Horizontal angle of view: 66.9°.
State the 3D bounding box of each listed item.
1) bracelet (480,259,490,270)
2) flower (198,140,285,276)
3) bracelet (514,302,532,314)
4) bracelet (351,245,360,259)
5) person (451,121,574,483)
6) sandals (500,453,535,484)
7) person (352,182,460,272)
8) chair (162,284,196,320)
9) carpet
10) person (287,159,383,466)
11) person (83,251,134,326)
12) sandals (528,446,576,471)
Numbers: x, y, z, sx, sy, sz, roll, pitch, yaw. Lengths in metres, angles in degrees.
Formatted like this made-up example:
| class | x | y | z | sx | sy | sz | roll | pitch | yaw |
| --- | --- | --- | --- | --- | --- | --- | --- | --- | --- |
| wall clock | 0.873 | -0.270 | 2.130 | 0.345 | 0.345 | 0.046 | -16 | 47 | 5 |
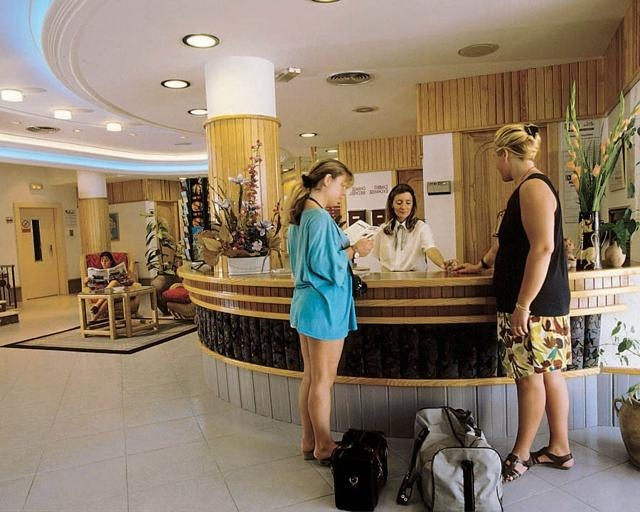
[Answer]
| class | x | y | z | sx | sy | sz | roll | pitch | yaw |
| --- | --- | --- | --- | --- | --- | --- | --- | --- | --- |
| bracelet | 1.191 | 0.068 | 3.490 | 0.068 | 0.018 | 0.064 | 42 | -4 | -17 |
| flower | -0.792 | -0.497 | 4.722 | 0.806 | 1.385 | 1.126 | -4 | 5 | -5 |
| bracelet | 1.212 | 0.315 | 2.877 | 0.073 | 0.059 | 0.045 | -2 | 5 | 12 |
| bracelet | 0.235 | -0.022 | 3.175 | 0.052 | 0.076 | 0.080 | 0 | -6 | -10 |
| person | 1.350 | 0.269 | 3.094 | 0.482 | 2.231 | 0.578 | -1 | 6 | 27 |
| sandals | 1.244 | 1.323 | 3.027 | 0.227 | 0.094 | 0.114 | 11 | -17 | -37 |
| person | 0.874 | -0.116 | 4.295 | 0.388 | 0.887 | 0.981 | -17 | 26 | -35 |
| chair | -2.355 | 0.837 | 8.150 | 0.735 | 0.511 | 0.310 | 0 | 6 | 35 |
| carpet | -3.139 | 1.194 | 7.088 | 2.370 | 0.057 | 1.612 | -2 | 4 | 12 |
| person | 0.058 | 0.397 | 3.158 | 0.510 | 2.041 | 0.354 | -3 | 5 | 3 |
| person | -3.168 | 0.528 | 7.500 | 0.785 | 1.005 | 0.883 | -15 | 23 | -34 |
| sandals | 1.507 | 1.319 | 3.138 | 0.288 | 0.122 | 0.125 | 3 | 0 | 32 |
